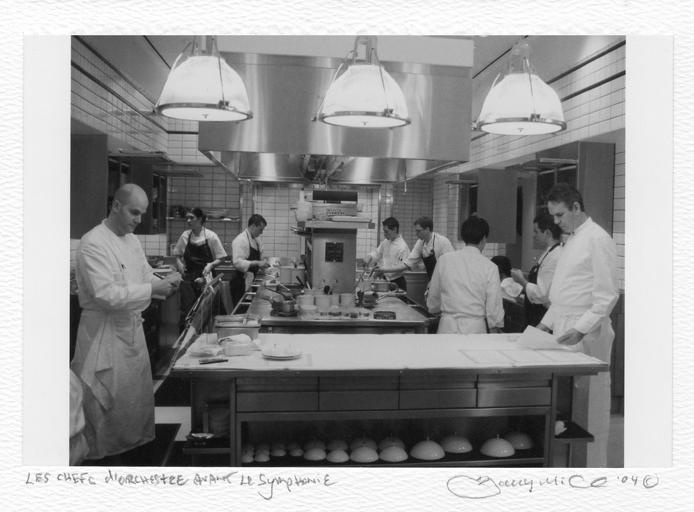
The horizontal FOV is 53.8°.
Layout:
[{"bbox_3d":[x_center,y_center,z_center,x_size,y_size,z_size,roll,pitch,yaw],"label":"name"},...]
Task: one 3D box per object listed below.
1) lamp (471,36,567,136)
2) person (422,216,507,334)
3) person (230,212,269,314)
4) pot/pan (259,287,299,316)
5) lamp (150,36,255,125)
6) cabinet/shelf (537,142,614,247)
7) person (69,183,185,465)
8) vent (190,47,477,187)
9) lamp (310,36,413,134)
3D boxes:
[{"bbox_3d":[1.014,-1.052,4.426,0.621,0.630,0.611,-1,4,0],"label":"lamp"},{"bbox_3d":[0.903,0.143,5.327,0.346,0.896,0.555,0,-1,-37],"label":"person"},{"bbox_3d":[-1.186,0.045,8.199,0.434,1.052,0.629,-1,-1,-10],"label":"person"},{"bbox_3d":[-0.534,0.368,5.521,0.178,0.121,0.468,1,1,-14],"label":"pot/pan"},{"bbox_3d":[-0.819,-0.985,4.030,0.512,0.601,0.529,0,3,16],"label":"lamp"},{"bbox_3d":[1.884,-0.507,5.561,0.348,0.866,0.938,-1,6,-2],"label":"cabinet/shelf"},{"bbox_3d":[-1.484,0.451,4.541,0.589,1.835,0.431,0,-1,-42],"label":"person"},{"bbox_3d":[0.644,-1.525,6.617,3.008,0.727,3.278,7,18,25],"label":"vent"},{"bbox_3d":[0.083,-1.105,4.136,0.622,0.583,0.627,1,1,27],"label":"lamp"}]
